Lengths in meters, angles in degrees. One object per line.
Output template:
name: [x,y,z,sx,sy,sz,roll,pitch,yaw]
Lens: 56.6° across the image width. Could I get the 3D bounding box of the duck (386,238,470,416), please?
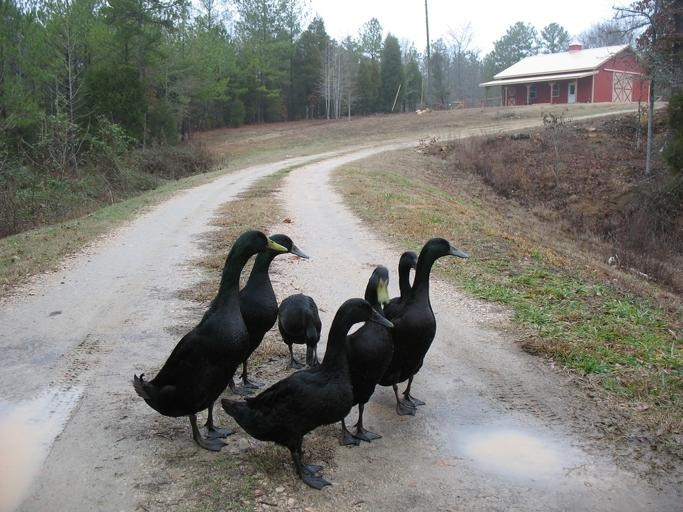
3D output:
duck: [1.087,1.059,9.748,0.778,2.526,1.109,6,16,28]
